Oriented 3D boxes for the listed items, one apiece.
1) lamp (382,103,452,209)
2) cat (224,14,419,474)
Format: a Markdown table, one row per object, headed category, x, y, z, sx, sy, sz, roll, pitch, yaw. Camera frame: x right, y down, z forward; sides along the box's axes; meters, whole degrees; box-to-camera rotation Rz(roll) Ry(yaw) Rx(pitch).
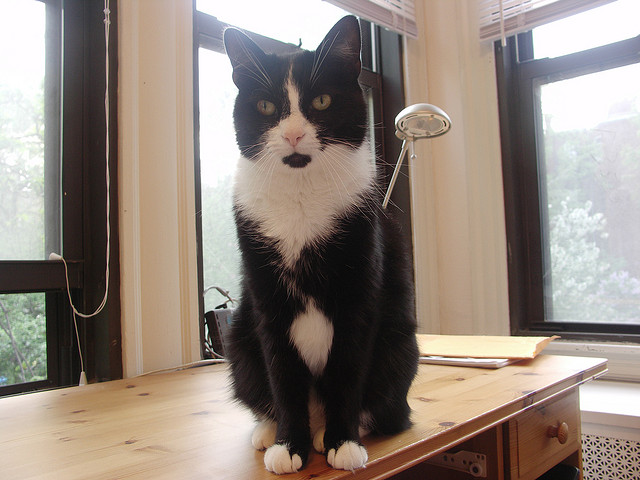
| category | x | y | z | sx | sy | sz | roll | pitch | yaw |
| --- | --- | --- | --- | --- | --- | --- | --- | --- | --- |
| lamp | 0.308 | -0.274 | 1.840 | 0.227 | 0.312 | 0.157 | -11 | -21 | 40 |
| cat | 0.007 | -0.033 | 1.192 | 0.407 | 0.910 | 0.396 | -2 | 9 | -5 |
